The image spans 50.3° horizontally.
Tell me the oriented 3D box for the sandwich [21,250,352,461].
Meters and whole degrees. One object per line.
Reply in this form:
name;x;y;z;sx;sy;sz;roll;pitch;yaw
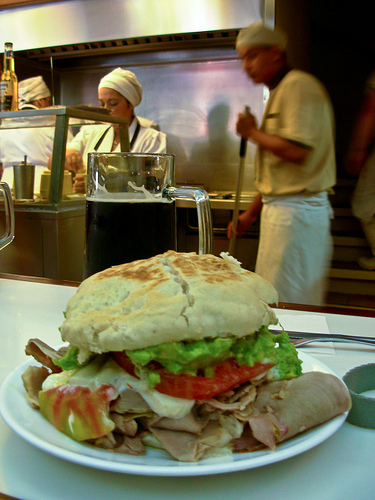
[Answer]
sandwich;-0.017;0.046;0.378;0.241;0.146;0.187;-9;7;-31
